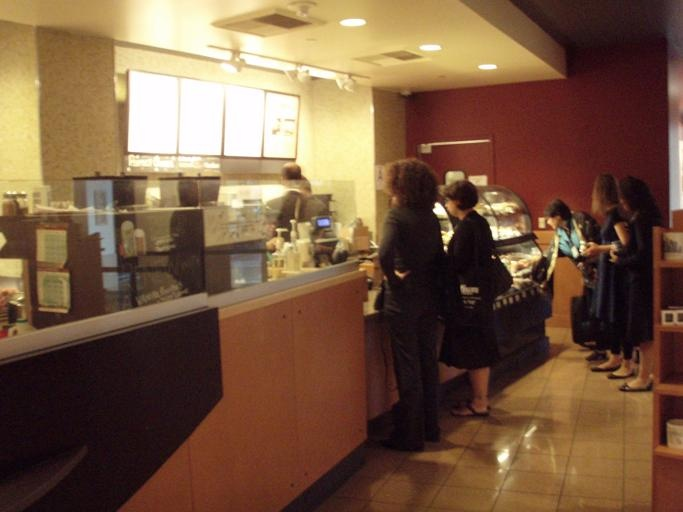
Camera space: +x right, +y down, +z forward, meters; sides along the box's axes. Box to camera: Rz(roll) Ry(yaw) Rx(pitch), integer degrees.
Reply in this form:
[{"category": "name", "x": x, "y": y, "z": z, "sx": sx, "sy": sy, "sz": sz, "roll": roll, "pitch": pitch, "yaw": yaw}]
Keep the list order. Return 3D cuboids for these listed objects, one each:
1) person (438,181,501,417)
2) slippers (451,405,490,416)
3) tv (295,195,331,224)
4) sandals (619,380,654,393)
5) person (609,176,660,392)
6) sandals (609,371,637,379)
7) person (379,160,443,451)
[{"category": "person", "x": 0.974, "y": 0.376, "z": 4.376, "sx": 0.439, "sy": 1.898, "sz": 0.545, "roll": -1, "pitch": 6, "yaw": 10}, {"category": "slippers", "x": 1.057, "y": 1.246, "z": 4.624, "sx": 0.269, "sy": 0.068, "sz": 0.116, "roll": 2, "pitch": 0, "yaw": 7}, {"category": "tv", "x": -0.181, "y": -0.295, "z": 3.510, "sx": 0.049, "sy": 0.168, "sz": 0.213, "roll": 7, "pitch": 16, "yaw": 37}, {"category": "sandals", "x": 2.571, "y": 1.169, "z": 5.000, "sx": 0.334, "sy": 0.095, "sz": 0.126, "roll": 4, "pitch": -5, "yaw": 4}, {"category": "person", "x": 2.389, "y": 0.294, "z": 4.660, "sx": 0.364, "sy": 1.876, "sz": 0.749, "roll": 1, "pitch": 7, "yaw": 28}, {"category": "sandals", "x": 2.625, "y": 1.112, "z": 5.334, "sx": 0.189, "sy": 0.042, "sz": 0.091, "roll": 1, "pitch": 1, "yaw": 11}, {"category": "person", "x": 0.512, "y": 0.352, "z": 4.037, "sx": 0.541, "sy": 2.062, "sz": 0.313, "roll": -4, "pitch": 6, "yaw": -11}]
